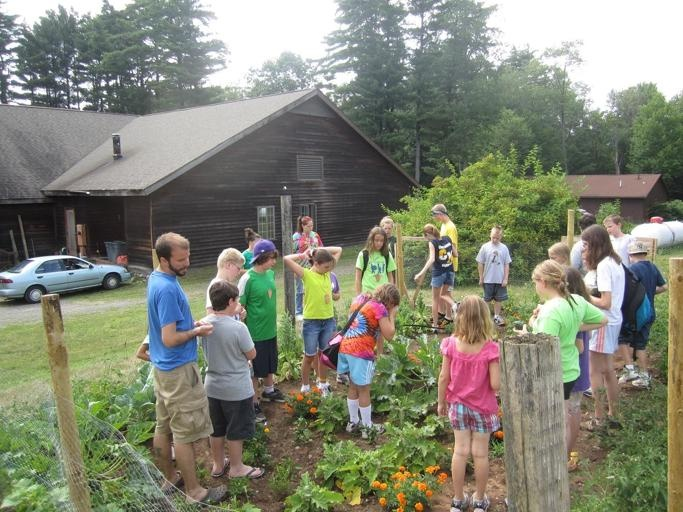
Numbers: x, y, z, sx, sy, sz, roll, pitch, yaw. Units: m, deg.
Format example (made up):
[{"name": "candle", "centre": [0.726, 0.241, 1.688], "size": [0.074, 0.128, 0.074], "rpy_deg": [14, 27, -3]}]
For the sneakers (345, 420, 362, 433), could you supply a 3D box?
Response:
[{"name": "sneakers", "centre": [0.154, 2.246, 7.715], "size": [0.203, 0.139, 0.106], "rpy_deg": [6, -7, -18]}]

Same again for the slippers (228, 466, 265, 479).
[{"name": "slippers", "centre": [-1.115, 2.554, 6.952], "size": [0.310, 0.097, 0.177], "rpy_deg": [-3, 0, 7]}]

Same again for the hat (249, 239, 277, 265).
[{"name": "hat", "centre": [-1.045, -0.046, 7.993], "size": [0.320, 0.313, 0.382], "rpy_deg": [-3, 4, -13]}]

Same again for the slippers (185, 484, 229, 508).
[{"name": "slippers", "centre": [-1.489, 2.680, 6.566], "size": [0.471, 0.182, 0.188], "rpy_deg": [-4, 12, -17]}]

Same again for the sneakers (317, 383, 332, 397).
[{"name": "sneakers", "centre": [-0.251, 1.897, 8.370], "size": [0.142, 0.051, 0.195], "rpy_deg": [2, 41, -1]}]

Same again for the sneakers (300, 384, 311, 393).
[{"name": "sneakers", "centre": [-0.510, 1.897, 8.407], "size": [0.072, 0.085, 0.184], "rpy_deg": [3, -26, -5]}]

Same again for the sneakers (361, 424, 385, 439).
[{"name": "sneakers", "centre": [0.417, 2.236, 7.641], "size": [0.351, 0.154, 0.128], "rpy_deg": [-7, 10, -44]}]

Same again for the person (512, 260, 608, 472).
[{"name": "person", "centre": [2.520, 1.267, 6.725], "size": [0.886, 2.427, 0.401], "rpy_deg": [-4, 5, -31]}]

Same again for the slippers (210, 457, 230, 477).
[{"name": "slippers", "centre": [-1.440, 2.565, 7.086], "size": [0.102, 0.108, 0.290], "rpy_deg": [4, 28, 1]}]

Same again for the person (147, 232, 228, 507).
[{"name": "person", "centre": [-1.810, 1.263, 6.579], "size": [0.757, 3.017, 0.429], "rpy_deg": [0, 5, 23]}]

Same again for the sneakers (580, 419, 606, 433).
[{"name": "sneakers", "centre": [3.251, 2.207, 7.652], "size": [0.176, 0.083, 0.207], "rpy_deg": [0, 0, 2]}]

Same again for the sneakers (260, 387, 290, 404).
[{"name": "sneakers", "centre": [-0.967, 2.025, 8.561], "size": [0.388, 0.196, 0.171], "rpy_deg": [2, 5, -2]}]

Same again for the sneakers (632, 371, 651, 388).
[{"name": "sneakers", "centre": [4.278, 1.776, 8.437], "size": [0.136, 0.236, 0.314], "rpy_deg": [0, 2, -42]}]

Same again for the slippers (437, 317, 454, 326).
[{"name": "slippers", "centre": [1.923, 1.231, 10.972], "size": [0.108, 0.126, 0.311], "rpy_deg": [-4, -5, 34]}]

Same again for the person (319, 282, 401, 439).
[{"name": "person", "centre": [0.262, 1.351, 7.619], "size": [0.987, 1.948, 0.401], "rpy_deg": [-1, 4, 4]}]

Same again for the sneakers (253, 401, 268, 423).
[{"name": "sneakers", "centre": [-1.131, 2.146, 8.069], "size": [0.112, 0.152, 0.338], "rpy_deg": [-1, -1, -26]}]

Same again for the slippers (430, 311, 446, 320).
[{"name": "slippers", "centre": [1.886, 1.157, 11.257], "size": [0.120, 0.152, 0.368], "rpy_deg": [-3, -8, 14]}]

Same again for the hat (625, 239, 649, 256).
[{"name": "hat", "centre": [4.222, -0.106, 8.429], "size": [0.227, 0.221, 0.233], "rpy_deg": [0, 4, 19]}]
